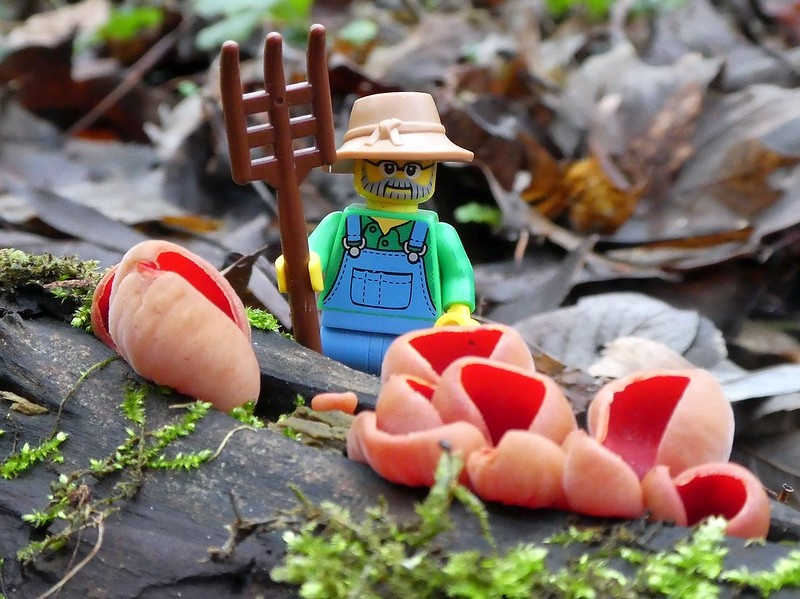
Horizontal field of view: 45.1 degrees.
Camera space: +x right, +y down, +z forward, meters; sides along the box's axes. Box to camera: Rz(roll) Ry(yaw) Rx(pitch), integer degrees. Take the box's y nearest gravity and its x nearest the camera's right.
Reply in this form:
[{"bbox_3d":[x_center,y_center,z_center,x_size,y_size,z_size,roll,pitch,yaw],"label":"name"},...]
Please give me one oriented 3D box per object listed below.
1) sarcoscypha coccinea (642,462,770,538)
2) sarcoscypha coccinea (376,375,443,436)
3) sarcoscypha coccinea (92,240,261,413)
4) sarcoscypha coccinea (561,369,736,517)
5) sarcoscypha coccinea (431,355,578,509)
[{"bbox_3d":[0.775,0.483,2.448,0.248,0.159,0.208,-6,4,36],"label":"sarcoscypha coccinea"},{"bbox_3d":[0.003,0.304,2.631,0.139,0.182,0.183,23,-3,-5],"label":"sarcoscypha coccinea"},{"bbox_3d":[-0.616,0.034,2.880,0.567,0.475,0.454,-17,16,-40],"label":"sarcoscypha coccinea"},{"bbox_3d":[0.667,0.353,2.542,0.353,0.396,0.440,8,15,4],"label":"sarcoscypha coccinea"},{"bbox_3d":[0.269,0.353,2.543,0.379,0.303,0.241,6,34,6],"label":"sarcoscypha coccinea"}]
